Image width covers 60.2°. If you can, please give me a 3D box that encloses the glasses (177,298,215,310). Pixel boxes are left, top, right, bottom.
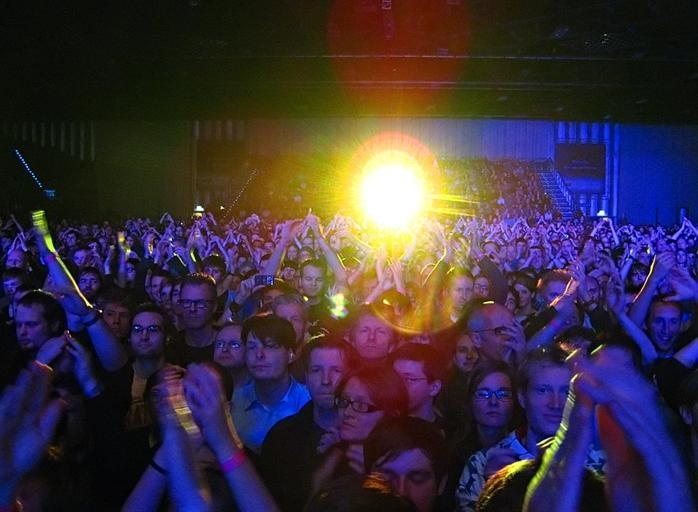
[{"bbox_3d":[-1.170,0.358,4.576,0.245,0.082,0.087,-4,7,-12],"label":"glasses"}]

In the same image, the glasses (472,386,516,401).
[{"bbox_3d":[0.818,0.787,3.431,0.206,0.061,0.042,-2,7,8],"label":"glasses"}]

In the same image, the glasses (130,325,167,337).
[{"bbox_3d":[-1.378,0.500,4.077,0.217,0.095,0.094,-4,7,-9],"label":"glasses"}]

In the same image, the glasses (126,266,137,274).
[{"bbox_3d":[-2.478,0.151,6.815,0.059,0.066,0.018,6,14,-31],"label":"glasses"}]

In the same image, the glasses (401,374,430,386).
[{"bbox_3d":[0.408,0.757,3.660,0.158,0.054,0.027,-3,7,-1],"label":"glasses"}]
